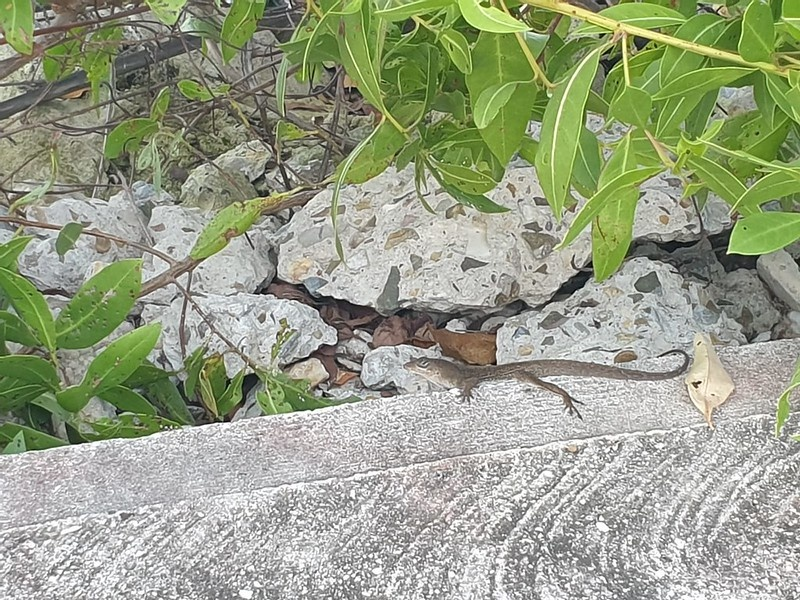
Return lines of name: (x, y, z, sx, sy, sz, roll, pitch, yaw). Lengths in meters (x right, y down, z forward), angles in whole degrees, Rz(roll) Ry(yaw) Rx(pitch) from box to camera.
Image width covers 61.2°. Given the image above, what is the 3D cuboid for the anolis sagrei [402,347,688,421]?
anolis sagrei: (0.427, 0.231, 2.150, 0.612, 0.079, 0.311, 0, 14, 4)
